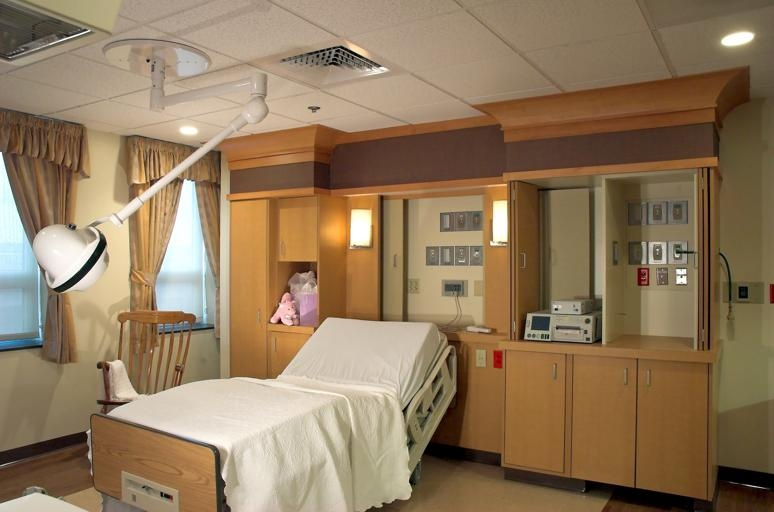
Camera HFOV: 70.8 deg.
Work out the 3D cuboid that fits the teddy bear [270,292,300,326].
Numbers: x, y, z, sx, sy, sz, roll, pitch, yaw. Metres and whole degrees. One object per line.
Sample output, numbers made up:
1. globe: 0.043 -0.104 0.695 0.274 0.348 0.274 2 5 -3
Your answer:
1. teddy bear: -1.120 0.561 6.005 0.297 0.337 0.237 8 15 -12
